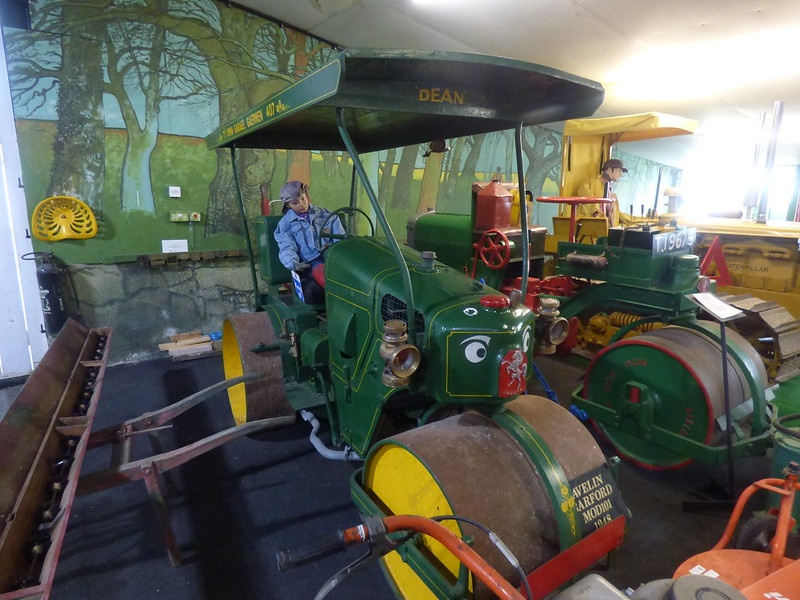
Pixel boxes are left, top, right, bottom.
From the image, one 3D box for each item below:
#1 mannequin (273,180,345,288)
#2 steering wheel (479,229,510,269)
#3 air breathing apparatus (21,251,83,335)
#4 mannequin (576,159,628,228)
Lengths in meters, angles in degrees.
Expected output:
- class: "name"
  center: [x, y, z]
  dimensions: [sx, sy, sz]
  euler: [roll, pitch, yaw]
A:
- class: "mannequin"
  center: [-0.857, -0.609, 4.676]
  dimensions: [0.576, 1.120, 0.550]
  euler: [-6, 20, -43]
- class: "steering wheel"
  center: [1.084, -0.611, 5.993]
  dimensions: [0.095, 0.401, 0.383]
  euler: [-13, 20, -32]
- class: "air breathing apparatus"
  center: [-3.952, -0.097, 5.844]
  dimensions: [0.565, 1.078, 0.451]
  euler: [-3, 18, -31]
- class: "mannequin"
  center: [3.227, -1.394, 8.153]
  dimensions: [0.588, 1.702, 1.167]
  euler: [0, 1, 32]
